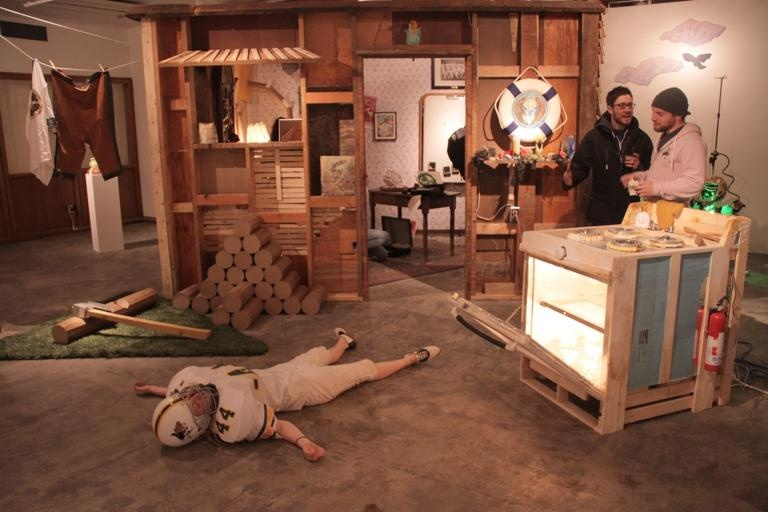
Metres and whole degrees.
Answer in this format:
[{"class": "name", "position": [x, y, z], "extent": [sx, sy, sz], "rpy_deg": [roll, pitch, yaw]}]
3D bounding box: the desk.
[{"class": "desk", "position": [0.597, -0.625, 9.627], "extent": [1.748, 1.173, 1.457], "rpy_deg": [10, 14, 28]}]

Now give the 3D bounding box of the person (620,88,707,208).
[{"class": "person", "position": [2.693, -0.971, 5.178], "extent": [0.649, 1.251, 0.694], "rpy_deg": [1, 14, -10]}]

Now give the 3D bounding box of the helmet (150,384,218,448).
[{"class": "helmet", "position": [-1.486, 1.211, 4.229], "extent": [0.543, 0.387, 0.392], "rpy_deg": [-36, -9, -15]}]

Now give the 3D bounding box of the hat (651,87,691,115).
[{"class": "hat", "position": [2.765, -1.479, 5.194], "extent": [0.273, 0.274, 0.317], "rpy_deg": [7, 17, 33]}]

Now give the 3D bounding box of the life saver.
[{"class": "life saver", "position": [1.766, -1.755, 6.612], "extent": [0.753, 0.775, 0.154], "rpy_deg": [0, 15, 10]}]

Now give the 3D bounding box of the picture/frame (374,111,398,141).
[{"class": "picture/frame", "position": [0.045, -2.549, 10.471], "extent": [0.566, 0.613, 0.034], "rpy_deg": [0, 5, -4]}]
